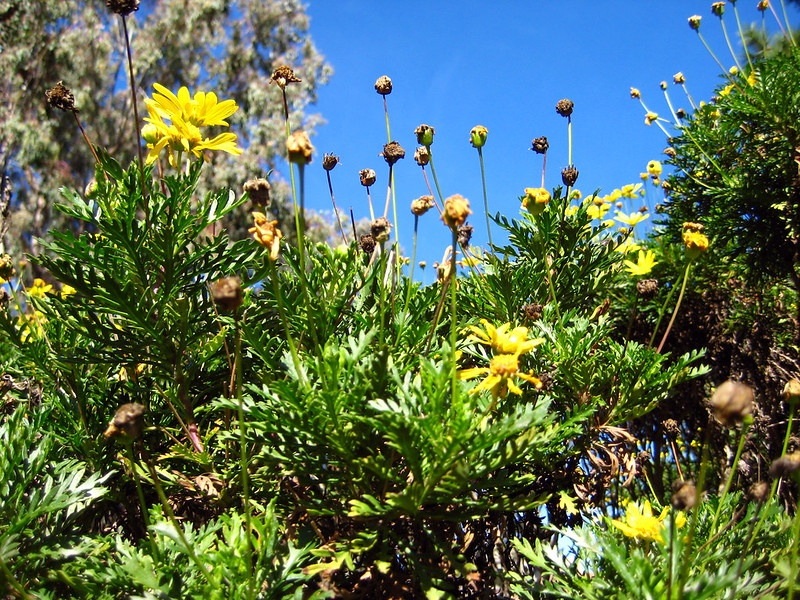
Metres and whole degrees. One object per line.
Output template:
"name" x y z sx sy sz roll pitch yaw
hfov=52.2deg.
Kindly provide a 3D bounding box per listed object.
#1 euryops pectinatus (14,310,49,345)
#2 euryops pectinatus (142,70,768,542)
"euryops pectinatus" -1.405 0.106 3.105 0.091 0.070 0.101 -2 -19 -3
"euryops pectinatus" 0.022 -0.014 2.753 1.936 1.898 1.181 -1 -13 -24
